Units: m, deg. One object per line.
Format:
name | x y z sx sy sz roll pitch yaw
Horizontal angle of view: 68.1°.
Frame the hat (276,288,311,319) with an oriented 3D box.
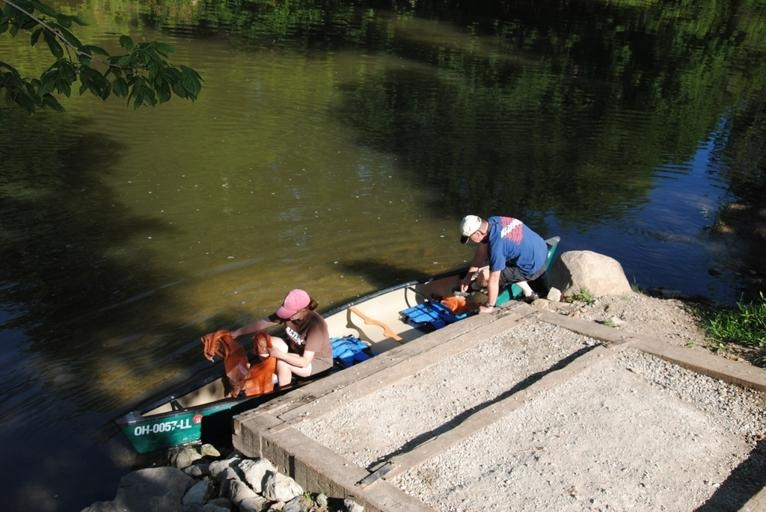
hat | -1.407 0.769 8.964 0.543 0.279 0.356 -39 53 -13
